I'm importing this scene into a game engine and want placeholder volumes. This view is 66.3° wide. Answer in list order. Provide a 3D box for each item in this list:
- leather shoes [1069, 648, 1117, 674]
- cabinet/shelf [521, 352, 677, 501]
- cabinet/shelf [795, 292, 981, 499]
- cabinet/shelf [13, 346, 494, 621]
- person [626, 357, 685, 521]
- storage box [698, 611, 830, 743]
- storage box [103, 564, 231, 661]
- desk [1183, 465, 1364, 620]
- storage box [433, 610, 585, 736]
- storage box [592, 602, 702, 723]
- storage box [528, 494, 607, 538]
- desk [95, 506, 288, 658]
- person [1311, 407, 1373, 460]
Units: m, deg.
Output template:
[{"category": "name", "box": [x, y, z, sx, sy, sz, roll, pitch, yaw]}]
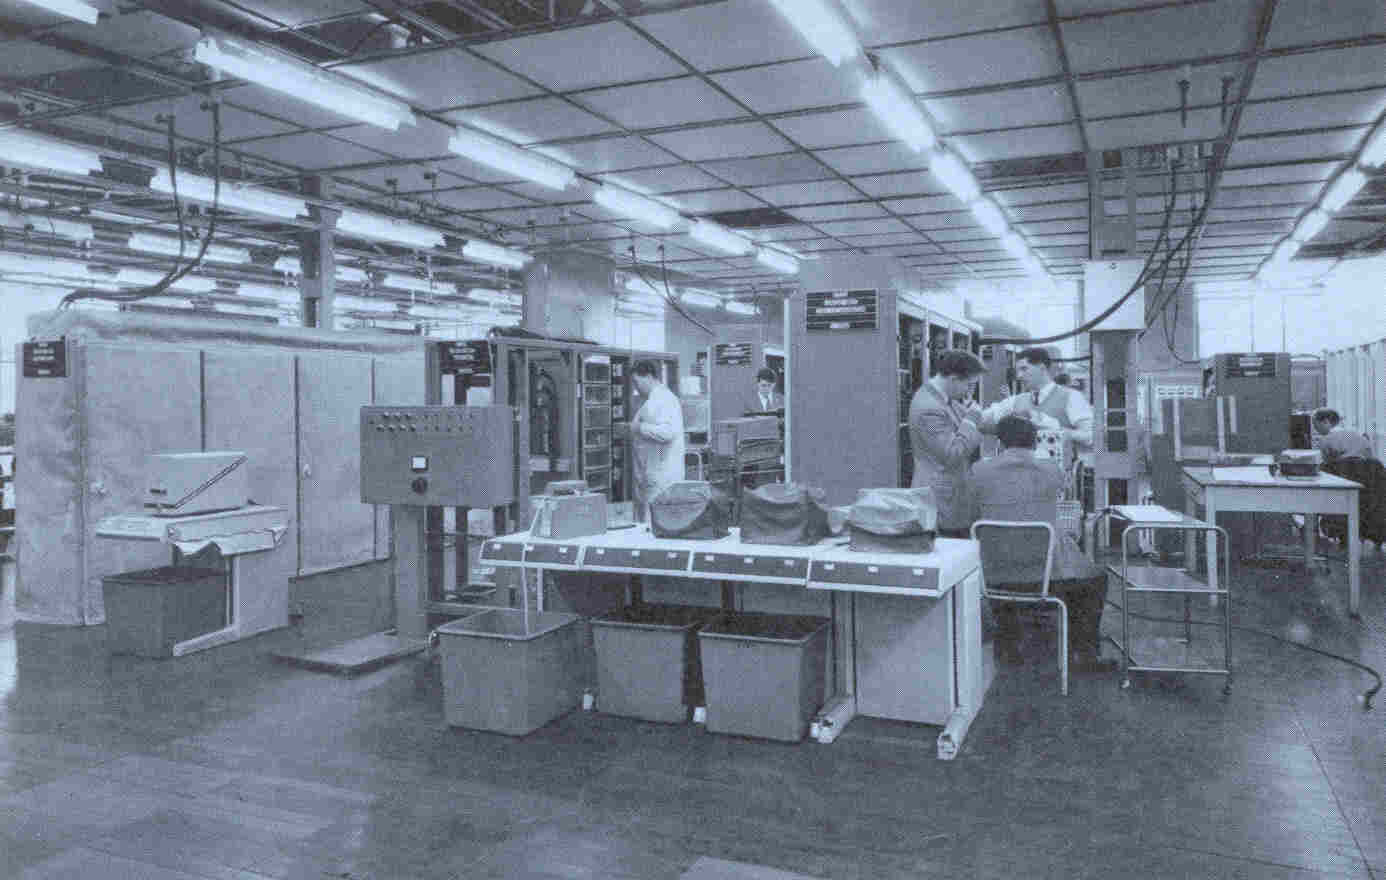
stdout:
[{"category": "leather shoes", "box": [3.423, 1.890, 9.006, 0.268, 0.091, 0.206, -3, 0, 30]}, {"category": "cabinet/shelf", "box": [-1.006, -0.443, 14.493, 1.726, 1.538, 0.547, 6, 10, 20]}, {"category": "cabinet/shelf", "box": [1.995, -0.378, 10.995, 0.814, 1.940, 2.227, 7, 7, 27]}, {"category": "cabinet/shelf", "box": [-4.412, 0.458, 10.362, 1.008, 1.671, 2.932, 3, 5, 38]}, {"category": "person", "box": [-0.377, 0.042, 12.043, 0.585, 1.853, 1.009, -2, 3, -3]}, {"category": "storage box", "box": [0.597, 1.836, 8.192, 0.899, 0.719, 0.914, 1, 0, 32]}, {"category": "storage box", "box": [-4.790, 1.535, 9.888, 1.072, 0.634, 0.827, -4, 7, -1]}, {"category": "desk", "box": [6.148, 1.203, 10.977, 1.520, 1.086, 2.478, -1, -12, 36]}, {"category": "storage box", "box": [-1.373, 1.743, 8.299, 0.985, 0.689, 0.982, 1, 3, 21]}, {"category": "storage box", "box": [-0.336, 1.804, 8.362, 1.011, 0.715, 0.706, 2, -3, 6]}, {"category": "storage box", "box": [-0.962, 0.682, 8.307, 0.328, 0.374, 0.642, -3, -4, 34]}, {"category": "desk", "box": [-5.181, 1.508, 10.078, 0.849, 1.169, 1.470, 23, -20, -38]}, {"category": "person", "box": [7.820, -0.001, 12.862, 0.601, 0.292, 0.748, -13, 25, -11]}]
